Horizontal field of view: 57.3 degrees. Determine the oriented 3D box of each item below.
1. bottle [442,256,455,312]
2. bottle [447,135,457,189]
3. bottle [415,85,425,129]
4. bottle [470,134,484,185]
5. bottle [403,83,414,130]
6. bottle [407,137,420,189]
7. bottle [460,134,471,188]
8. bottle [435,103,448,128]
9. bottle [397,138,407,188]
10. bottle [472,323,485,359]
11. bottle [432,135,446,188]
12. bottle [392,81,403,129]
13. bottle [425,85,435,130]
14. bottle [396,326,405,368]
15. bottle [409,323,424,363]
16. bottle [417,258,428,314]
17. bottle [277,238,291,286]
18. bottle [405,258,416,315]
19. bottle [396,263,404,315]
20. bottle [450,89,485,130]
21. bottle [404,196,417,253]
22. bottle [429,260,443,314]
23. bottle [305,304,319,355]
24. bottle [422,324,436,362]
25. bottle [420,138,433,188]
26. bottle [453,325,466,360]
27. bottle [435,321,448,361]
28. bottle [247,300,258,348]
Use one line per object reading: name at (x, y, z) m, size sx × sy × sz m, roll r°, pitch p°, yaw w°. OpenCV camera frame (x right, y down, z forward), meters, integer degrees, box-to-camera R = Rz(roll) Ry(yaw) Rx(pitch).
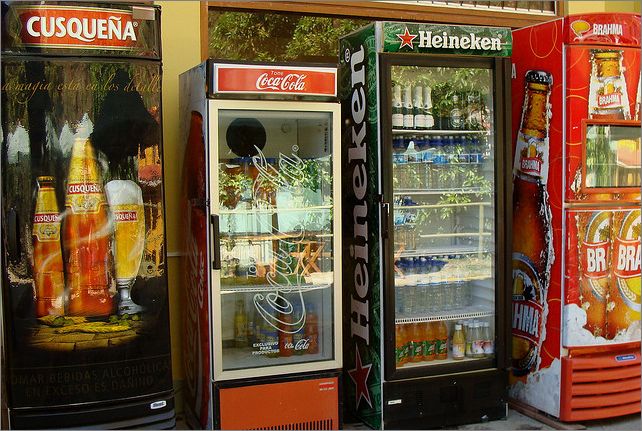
bottle at (1.086, 0.582, 4.943) m, size 0.105 × 0.423 × 0.073 m, roll -3°, pitch 2°, yaw -2°
bottle at (1.119, -0.458, 4.933) m, size 0.091 × 0.427 × 0.047 m, roll -4°, pitch 2°, yaw -19°
bottle at (0.819, -0.904, 4.840) m, size 0.090 × 0.346 × 0.143 m, roll -3°, pitch 2°, yaw 11°
bottle at (1.331, -0.479, 4.956) m, size 0.112 × 0.438 × 0.087 m, roll -3°, pitch 2°, yaw 15°
bottle at (0.722, -0.896, 4.805) m, size 0.087 × 0.356 × 0.185 m, roll -3°, pitch 3°, yaw 10°
bottle at (0.778, -0.445, 4.858) m, size 0.138 × 0.409 × 0.046 m, roll -5°, pitch 3°, yaw -30°
bottle at (1.226, -0.470, 4.955) m, size 0.086 × 0.429 × 0.067 m, roll -3°, pitch 2°, yaw -2°
bottle at (1.022, -0.850, 4.905) m, size 0.116 × 0.227 × 0.060 m, roll -3°, pitch 2°, yaw 5°
bottle at (0.677, -0.444, 4.851) m, size 0.100 × 0.441 × 0.106 m, roll -2°, pitch 2°, yaw 0°
bottle at (1.339, 1.034, 4.940) m, size 0.121 × 0.304 × 0.044 m, roll -4°, pitch 2°, yaw -24°
bottle at (0.999, -0.457, 4.918) m, size 0.115 × 0.435 × 0.061 m, roll -3°, pitch 2°, yaw -2°
bottle at (0.627, -0.893, 4.745) m, size 0.089 × 0.363 × 0.205 m, roll -3°, pitch 3°, yaw 9°
bottle at (0.910, -0.905, 4.870) m, size 0.068 × 0.345 × 0.181 m, roll -2°, pitch 3°, yaw 29°
bottle at (0.648, 1.055, 4.758) m, size 0.072 × 0.316 × 0.129 m, roll -3°, pitch 2°, yaw 7°
bottle at (0.795, 1.043, 4.846) m, size 0.122 × 0.313 × 0.054 m, roll -4°, pitch 2°, yaw -14°
bottle at (0.865, 0.582, 4.963) m, size 0.138 × 0.511 × 0.147 m, roll -1°, pitch 1°, yaw 0°
bottle at (-0.279, 0.337, 4.551) m, size 0.123 × 0.215 × 0.025 m, roll -3°, pitch 2°, yaw 1°
bottle at (0.763, 0.577, 4.908) m, size 0.110 × 0.493 × 0.115 m, roll -2°, pitch 0°, yaw 0°
bottle at (0.656, 0.606, 4.825) m, size 0.070 × 0.391 × 0.119 m, roll -3°, pitch 2°, yaw 10°
bottle at (1.240, -0.898, 4.925) m, size 0.322 × 0.332 × 0.071 m, roll -4°, pitch 2°, yaw 1°
bottle at (0.751, 0.058, 4.847) m, size 0.116 × 0.440 × 0.293 m, roll -3°, pitch 3°, yaw 10°
bottle at (0.985, 0.569, 4.920) m, size 0.159 × 0.449 × 0.064 m, roll -4°, pitch 2°, yaw -15°
bottle at (-0.069, 0.895, 4.627) m, size 0.110 × 0.371 × 0.054 m, roll -4°, pitch 2°, yaw -5°
bottle at (0.909, 1.040, 4.869) m, size 0.121 × 0.317 × 0.042 m, roll -5°, pitch 3°, yaw -36°
bottle at (0.898, -0.455, 4.889) m, size 0.118 × 0.426 × 0.068 m, roll -4°, pitch 2°, yaw -20°
bottle at (1.174, 1.044, 4.946) m, size 0.114 × 0.297 × 0.214 m, roll -3°, pitch 3°, yaw 13°
bottle at (1.051, 1.038, 4.961) m, size 0.076 × 0.318 × 0.224 m, roll -2°, pitch 3°, yaw 30°
bottle at (-0.533, 0.834, 4.571) m, size 0.069 × 0.255 × 0.057 m, roll -1°, pitch 3°, yaw 45°
